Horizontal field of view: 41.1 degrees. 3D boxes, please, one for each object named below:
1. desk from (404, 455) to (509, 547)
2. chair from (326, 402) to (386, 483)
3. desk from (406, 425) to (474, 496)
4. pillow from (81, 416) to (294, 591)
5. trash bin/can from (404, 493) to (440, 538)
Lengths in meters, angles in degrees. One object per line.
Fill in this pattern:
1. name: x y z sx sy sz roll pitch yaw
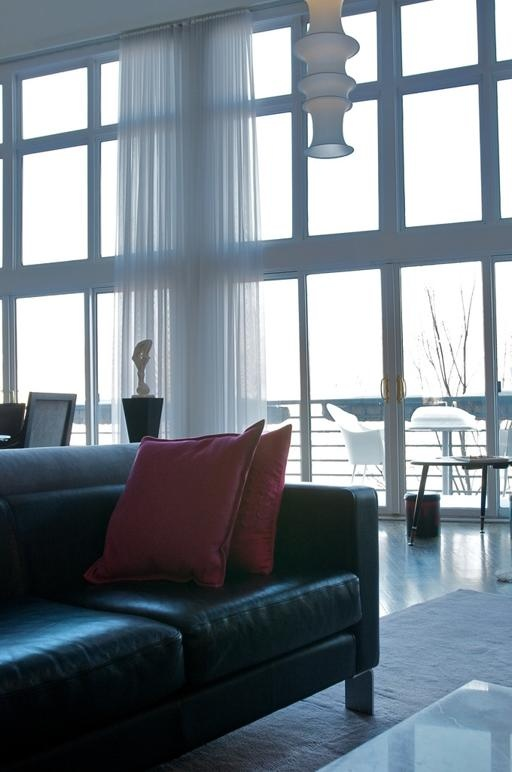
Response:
1. desk: 1.368 0.693 4.656 0.580 0.473 0.667 -1 -4 9
2. chair: 0.922 0.553 5.851 0.474 0.654 0.455 -5 -4 30
3. desk: 1.507 0.469 5.565 0.456 0.731 0.716 0 -4 16
4. pillow: -0.105 0.236 1.838 0.539 0.370 0.556 4 17 22
5. trash bin/can: 1.166 0.883 4.730 0.250 0.308 0.268 -1 -3 3
